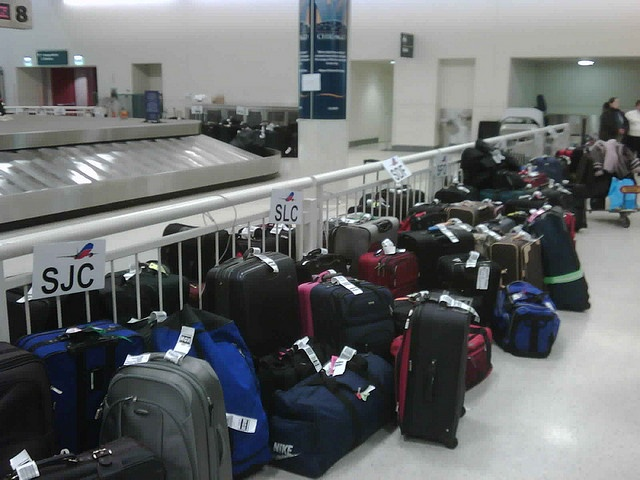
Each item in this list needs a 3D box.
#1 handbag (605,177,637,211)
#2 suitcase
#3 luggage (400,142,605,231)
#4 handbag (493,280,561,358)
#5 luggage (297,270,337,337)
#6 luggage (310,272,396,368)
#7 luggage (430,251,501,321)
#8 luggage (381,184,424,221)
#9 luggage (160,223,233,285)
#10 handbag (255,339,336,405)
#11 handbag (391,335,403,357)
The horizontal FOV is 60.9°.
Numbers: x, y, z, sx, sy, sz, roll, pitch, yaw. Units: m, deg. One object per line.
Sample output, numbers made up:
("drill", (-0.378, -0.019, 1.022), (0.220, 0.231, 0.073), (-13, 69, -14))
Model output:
("handbag", (3.829, -0.594, 6.908), (0.384, 0.456, 0.248), (2, 12, 15))
("suitcase", (-0.336, 0.331, 2.782), (0.277, 0.510, 0.452), (8, 14, 36))
("luggage", (2.321, -0.740, 6.601), (1.391, 0.821, 2.229), (5, 17, 25))
("handbag", (1.319, 0.548, 3.680), (0.357, 0.487, 0.477), (1, 2, 4))
("luggage", (-0.013, 0.372, 3.036), (0.261, 0.361, 0.193), (-12, 21, -30))
("luggage", (0.190, 0.406, 3.078), (0.403, 0.550, 0.462), (-7, 16, -40))
("luggage", (0.955, 0.312, 3.544), (0.366, 0.560, 0.303), (3, 20, 9))
("luggage", (0.777, -0.363, 5.728), (0.232, 0.399, 0.445), (0, -10, -25))
("luggage", (-0.881, 0.174, 3.972), (0.536, 0.507, 0.301), (6, -9, 0))
("handbag", (-0.128, 0.608, 2.705), (0.220, 0.213, 0.351), (11, 20, 31))
("handbag", (0.429, 0.598, 3.059), (0.030, 0.119, 0.107), (7, -12, 15))
